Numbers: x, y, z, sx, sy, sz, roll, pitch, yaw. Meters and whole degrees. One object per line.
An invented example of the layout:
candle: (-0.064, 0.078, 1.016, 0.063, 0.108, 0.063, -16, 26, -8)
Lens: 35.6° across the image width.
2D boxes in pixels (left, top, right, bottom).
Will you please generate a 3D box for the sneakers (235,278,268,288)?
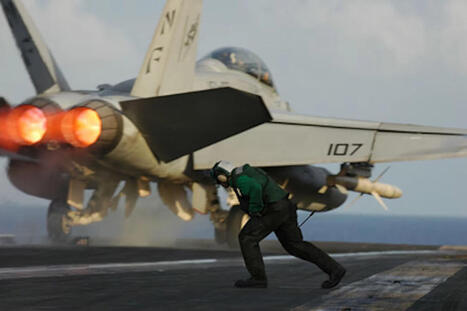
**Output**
sneakers: (0.326, 2.331, 13.187, 0.686, 0.173, 0.173, 3, -25, 1)
